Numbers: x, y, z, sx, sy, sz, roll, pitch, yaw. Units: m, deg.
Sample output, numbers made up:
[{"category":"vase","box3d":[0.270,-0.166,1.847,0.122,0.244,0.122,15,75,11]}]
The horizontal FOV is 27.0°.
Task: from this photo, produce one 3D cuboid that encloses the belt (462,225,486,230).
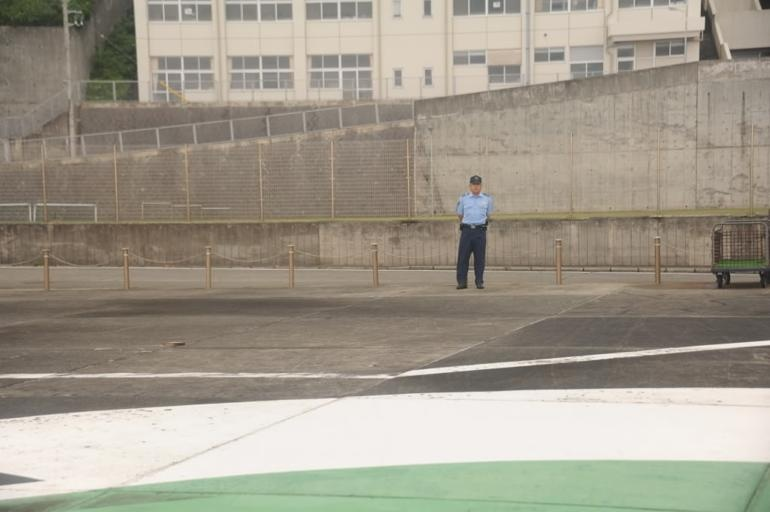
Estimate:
[{"category":"belt","box3d":[3.823,-1.321,69.320,1.014,0.233,0.124,-2,10,-3]}]
